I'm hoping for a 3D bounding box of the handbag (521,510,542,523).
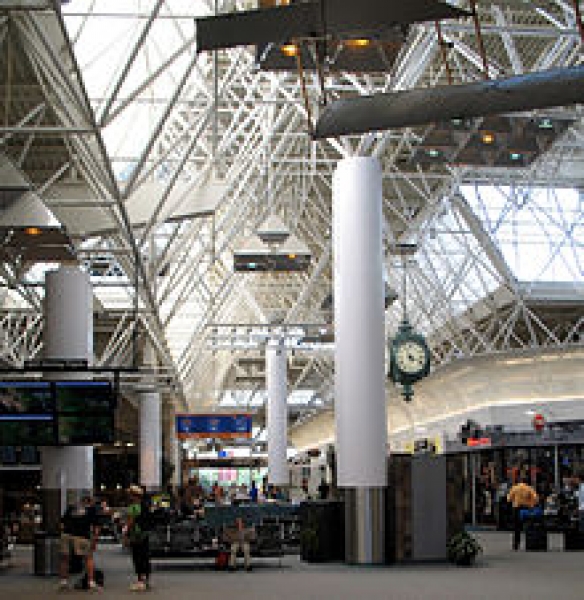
[{"bbox_3d":[5.917,5.346,19.100,0.425,0.263,0.286,3,-27,-10],"label":"handbag"}]

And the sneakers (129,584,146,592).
[{"bbox_3d":[-2.548,4.656,12.460,0.304,0.129,0.111,0,-4,20],"label":"sneakers"}]

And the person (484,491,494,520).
[{"bbox_3d":[8.782,9.243,34.649,0.343,1.182,0.958,-4,-16,6],"label":"person"}]

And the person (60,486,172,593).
[{"bbox_3d":[-2.974,4.021,13.050,1.146,1.683,1.484,2,-16,-14],"label":"person"}]

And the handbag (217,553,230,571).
[{"bbox_3d":[-1.457,5.361,15.742,0.281,0.323,0.509,0,-16,-6],"label":"handbag"}]

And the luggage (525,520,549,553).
[{"bbox_3d":[5.919,5.754,18.711,0.676,0.730,0.433,2,-17,-13],"label":"luggage"}]

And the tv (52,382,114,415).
[{"bbox_3d":[-4.179,1.965,15.411,1.400,0.626,0.318,1,11,2],"label":"tv"}]

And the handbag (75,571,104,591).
[{"bbox_3d":[-3.402,4.674,12.855,0.253,0.295,0.746,0,-6,8],"label":"handbag"}]

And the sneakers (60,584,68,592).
[{"bbox_3d":[-3.746,4.671,12.500,0.095,0.106,0.268,2,-13,-10],"label":"sneakers"}]

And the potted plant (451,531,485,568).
[{"bbox_3d":[3.349,4.838,14.704,0.641,0.601,0.701,2,1,45],"label":"potted plant"}]
